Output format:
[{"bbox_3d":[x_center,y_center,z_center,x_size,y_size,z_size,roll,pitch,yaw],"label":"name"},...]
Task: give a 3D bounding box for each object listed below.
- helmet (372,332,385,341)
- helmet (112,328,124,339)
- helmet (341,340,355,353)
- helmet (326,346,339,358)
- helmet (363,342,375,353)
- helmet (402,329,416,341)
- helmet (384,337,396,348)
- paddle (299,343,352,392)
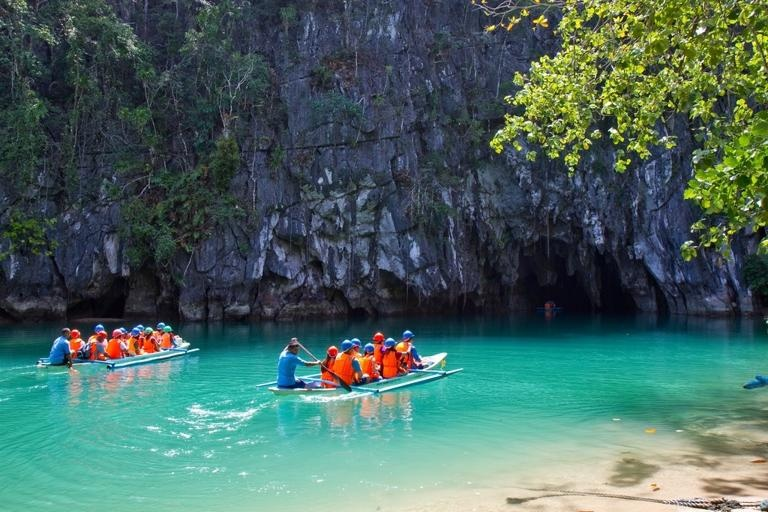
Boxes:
[{"bbox_3d":[-0.224,3.074,27.477,0.375,0.367,0.590,1,4,2],"label":"helmet"},{"bbox_3d":[-11.371,3.202,30.799,0.413,0.278,0.344,-5,-1,21],"label":"helmet"},{"bbox_3d":[-1.304,3.194,25.784,0.353,0.426,0.441,2,14,19],"label":"helmet"},{"bbox_3d":[-1.810,3.320,25.540,0.288,0.324,0.451,1,9,-4],"label":"helmet"},{"bbox_3d":[-0.551,3.282,26.475,0.232,0.302,0.325,4,12,5],"label":"helmet"},{"bbox_3d":[0.897,3.040,27.638,0.420,0.429,0.623,3,9,22],"label":"helmet"},{"bbox_3d":[0.241,3.134,26.804,0.259,0.250,0.352,9,16,44],"label":"helmet"},{"bbox_3d":[-2.134,4.037,26.395,0.163,0.557,3.175,9,20,-36],"label":"paddle"}]
